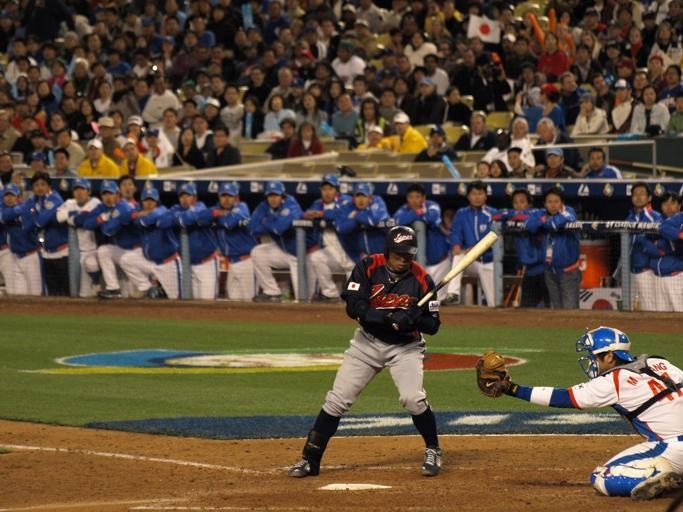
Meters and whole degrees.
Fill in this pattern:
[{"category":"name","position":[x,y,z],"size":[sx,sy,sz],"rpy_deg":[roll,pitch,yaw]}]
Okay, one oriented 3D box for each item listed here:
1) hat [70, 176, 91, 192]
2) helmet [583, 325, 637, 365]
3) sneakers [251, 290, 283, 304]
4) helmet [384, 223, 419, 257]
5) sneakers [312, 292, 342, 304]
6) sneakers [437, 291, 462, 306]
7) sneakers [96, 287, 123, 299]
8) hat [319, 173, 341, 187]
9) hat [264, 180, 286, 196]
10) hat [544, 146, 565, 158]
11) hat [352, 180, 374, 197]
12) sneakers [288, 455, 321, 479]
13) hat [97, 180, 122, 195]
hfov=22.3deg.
[{"category":"hat","position":[-4.492,-1.296,29.986],"size":[0.277,0.236,0.445],"rpy_deg":[-1,-6,8]},{"category":"helmet","position":[3.245,1.051,21.376],"size":[0.551,0.316,0.405],"rpy_deg":[1,-1,22]},{"category":"sneakers","position":[-1.261,0.645,29.160],"size":[0.421,0.282,0.193],"rpy_deg":[4,-2,4]},{"category":"helmet","position":[0.742,-0.221,21.906],"size":[0.388,0.285,0.331],"rpy_deg":[-1,0,0]},{"category":"sneakers","position":[-0.276,0.675,28.957],"size":[0.612,0.253,0.206],"rpy_deg":[-2,-4,14]},{"category":"sneakers","position":[1.771,0.674,28.495],"size":[0.410,0.281,0.136],"rpy_deg":[1,-31,-3]},{"category":"sneakers","position":[-3.995,0.589,29.701],"size":[0.393,0.194,0.170],"rpy_deg":[5,-1,0]},{"category":"hat","position":[-0.183,-1.335,29.103],"size":[0.299,0.216,0.483],"rpy_deg":[-1,-4,10]},{"category":"hat","position":[-1.121,-1.181,29.074],"size":[0.315,0.191,0.287],"rpy_deg":[-1,0,-3]},{"category":"hat","position":[3.549,-1.781,28.927],"size":[0.282,0.116,0.315],"rpy_deg":[-1,0,5]},{"category":"hat","position":[0.340,-1.163,28.880],"size":[0.292,0.138,0.423],"rpy_deg":[2,2,12]},{"category":"sneakers","position":[-0.468,2.645,21.780],"size":[0.388,0.219,0.207],"rpy_deg":[2,3,-3]},{"category":"hat","position":[-3.975,-1.232,29.737],"size":[0.262,0.182,0.356],"rpy_deg":[-1,-9,-6]}]
